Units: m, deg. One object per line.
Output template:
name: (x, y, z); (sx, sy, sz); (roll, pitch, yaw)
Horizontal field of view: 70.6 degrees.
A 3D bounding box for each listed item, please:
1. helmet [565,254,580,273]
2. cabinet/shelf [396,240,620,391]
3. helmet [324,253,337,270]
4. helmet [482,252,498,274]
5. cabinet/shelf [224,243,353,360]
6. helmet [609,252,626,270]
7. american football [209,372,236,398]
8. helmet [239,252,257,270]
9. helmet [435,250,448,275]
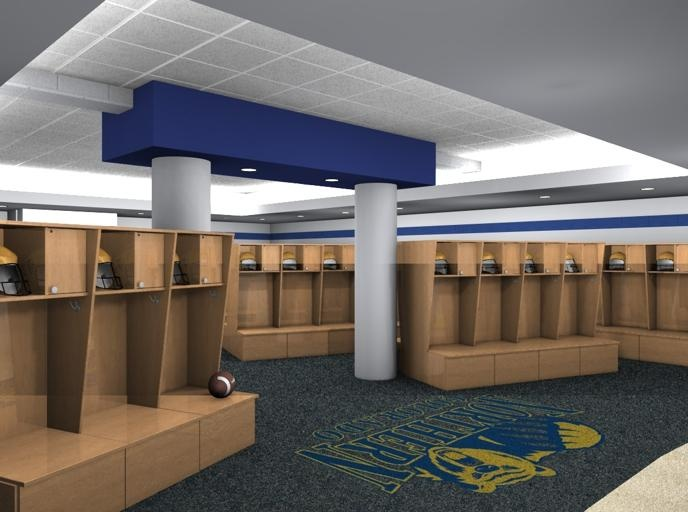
helmet: (4.023, 0.144, 8.585); (0.330, 0.342, 0.374); (2, 6, 21)
cabinet/shelf: (2.509, 0.977, 7.757); (2.808, 1.399, 0.877); (0, -5, -18)
helmet: (-0.269, 0.110, 9.699); (0.359, 0.276, 0.103); (2, -5, -18)
helmet: (2.354, 0.136, 7.831); (0.264, 0.297, 0.119); (0, -7, -3)
cabinet/shelf: (-1.114, 0.902, 9.167); (2.766, 1.827, 0.873); (0, -1, -18)
helmet: (5.448, 0.124, 9.692); (0.342, 0.308, 0.365); (8, -4, -30)
american football: (-1.208, 1.288, 4.919); (0.307, 0.237, 0.261); (2, -1, 3)
helmet: (-1.781, 0.108, 9.035); (0.405, 0.299, 0.329); (1, 3, -15)
helmet: (1.519, 0.132, 7.504); (0.282, 0.307, 0.124); (2, 1, -15)
